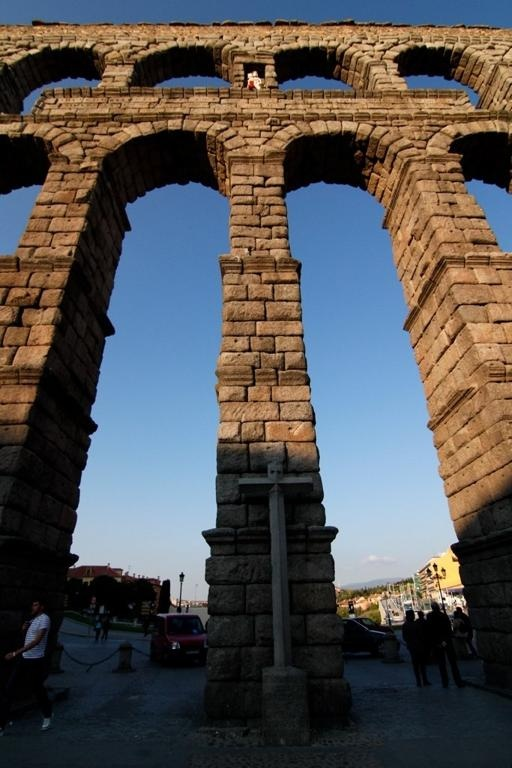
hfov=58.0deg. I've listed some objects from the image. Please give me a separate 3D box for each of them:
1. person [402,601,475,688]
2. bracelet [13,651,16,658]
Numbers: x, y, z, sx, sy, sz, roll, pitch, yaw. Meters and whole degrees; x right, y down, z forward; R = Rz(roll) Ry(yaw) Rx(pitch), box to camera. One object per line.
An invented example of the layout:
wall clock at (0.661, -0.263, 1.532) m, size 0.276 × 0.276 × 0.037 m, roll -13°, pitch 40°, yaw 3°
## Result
person at (2.630, 3.930, 7.040) m, size 0.681 × 1.100 × 1.100 m, roll -8°, pitch -26°, yaw 12°
bracelet at (-2.290, 2.595, 4.445) m, size 0.008 × 0.031 × 0.033 m, roll 9°, pitch 2°, yaw -3°
